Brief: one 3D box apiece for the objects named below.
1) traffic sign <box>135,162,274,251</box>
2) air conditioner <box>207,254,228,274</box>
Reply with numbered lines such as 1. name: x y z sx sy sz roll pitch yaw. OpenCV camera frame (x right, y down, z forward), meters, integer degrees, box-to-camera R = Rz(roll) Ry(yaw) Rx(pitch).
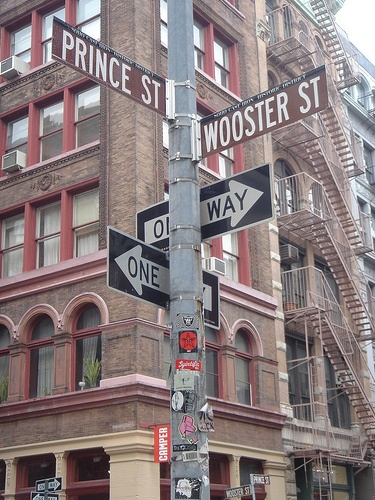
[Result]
1. traffic sign: 0.125 -0.660 12.118 2.492 0.932 0.020 -21 -35 35
2. air conditioner: 0.781 0.212 22.125 0.341 0.445 0.677 -12 -19 31
